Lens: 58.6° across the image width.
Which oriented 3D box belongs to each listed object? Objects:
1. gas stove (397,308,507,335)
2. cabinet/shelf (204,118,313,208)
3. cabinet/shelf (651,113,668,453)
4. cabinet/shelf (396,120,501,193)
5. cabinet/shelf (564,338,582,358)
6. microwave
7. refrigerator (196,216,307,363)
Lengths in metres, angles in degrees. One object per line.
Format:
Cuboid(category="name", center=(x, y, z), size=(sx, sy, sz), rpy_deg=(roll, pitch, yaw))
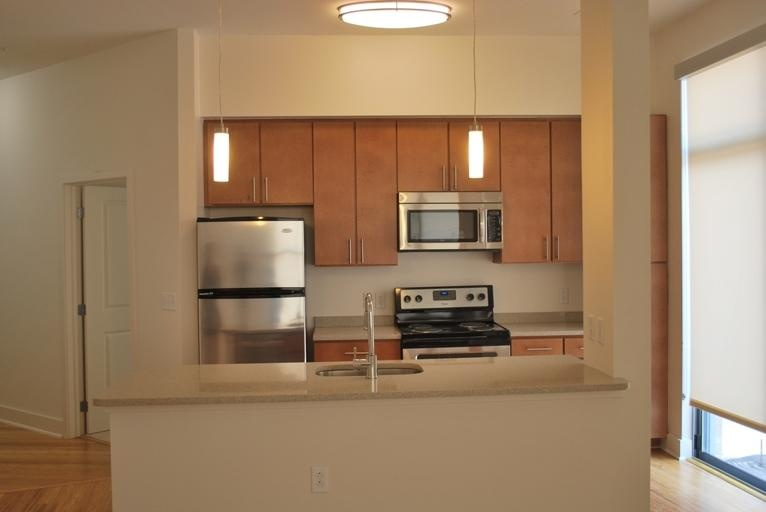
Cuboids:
Cuboid(category="gas stove", center=(0.614, 0.610, 6.342), size=(0.964, 0.148, 0.593), rpy_deg=(-2, 6, -3))
Cuboid(category="cabinet/shelf", center=(-1.125, -0.853, 6.046), size=(0.827, 0.644, 0.305), rpy_deg=(0, -3, -2))
Cuboid(category="cabinet/shelf", center=(2.442, 0.240, 6.022), size=(0.144, 2.950, 0.364), rpy_deg=(0, 6, 22))
Cuboid(category="cabinet/shelf", center=(0.537, -0.900, 6.105), size=(0.694, 0.481, 0.259), rpy_deg=(0, -2, -1))
Cuboid(category="cabinet/shelf", center=(1.667, 0.808, 6.011), size=(0.199, 0.175, 0.129), rpy_deg=(1, -4, 0))
Cuboid(category="microwave", center=(0.621, -0.323, 6.238), size=(0.934, 0.537, 0.231), rpy_deg=(-1, 6, 6))
Cuboid(category="refrigerator", center=(-1.114, 0.286, 5.839), size=(0.853, 1.209, 0.255), rpy_deg=(-1, 6, 8))
